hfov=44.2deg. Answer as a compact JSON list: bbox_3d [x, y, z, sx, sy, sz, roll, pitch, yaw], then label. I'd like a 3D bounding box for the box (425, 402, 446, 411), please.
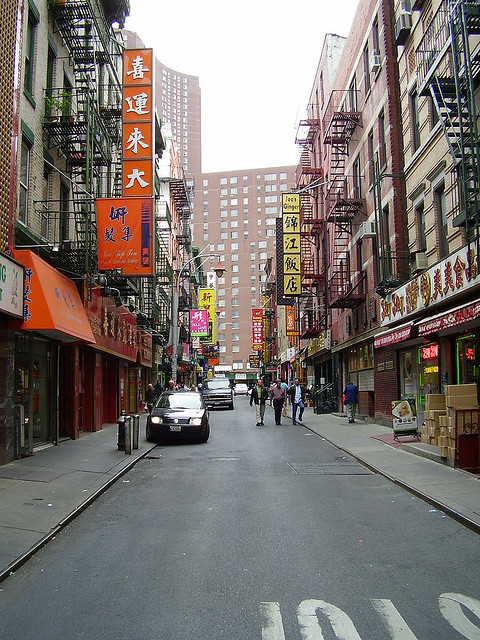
[{"bbox_3d":[4.384,1.938,13.278,0.389,0.191,0.291,-1,-5,14],"label":"box"}]

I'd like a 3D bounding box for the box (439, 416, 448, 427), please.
[{"bbox_3d":[4.026,2.003,11.747,0.140,0.323,0.250,-2,-5,17],"label":"box"}]

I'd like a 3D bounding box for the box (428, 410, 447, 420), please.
[{"bbox_3d":[4.340,2.073,13.104,0.187,0.207,0.234,2,-4,-15],"label":"box"}]

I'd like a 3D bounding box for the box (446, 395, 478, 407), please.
[{"bbox_3d":[4.211,1.524,11.182,0.560,0.224,0.233,0,-5,5],"label":"box"}]

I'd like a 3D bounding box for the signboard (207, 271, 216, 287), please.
[{"bbox_3d":[-4.799,-6.744,98.843,1.162,3.032,6.805,0,-6,-6],"label":"signboard"}]

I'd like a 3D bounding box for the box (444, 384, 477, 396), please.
[{"bbox_3d":[4.196,1.334,11.265,0.547,0.204,0.313,-2,-6,22],"label":"box"}]

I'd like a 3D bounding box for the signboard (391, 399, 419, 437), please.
[{"bbox_3d":[4.393,2.606,15.726,0.703,1.613,0.393,-1,2,0],"label":"signboard"}]

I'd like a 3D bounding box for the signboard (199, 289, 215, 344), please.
[{"bbox_3d":[-3.401,-0.616,60.490,1.643,7.295,0.737,1,38,-2],"label":"signboard"}]

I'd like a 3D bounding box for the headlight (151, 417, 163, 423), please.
[{"bbox_3d":[-2.302,2.767,16.430,0.381,0.135,0.146,-3,-5,25],"label":"headlight"}]

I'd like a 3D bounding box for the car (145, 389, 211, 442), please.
[{"bbox_3d":[-1.765,2.856,17.280,1.666,1.418,2.132,0,-5,3],"label":"car"}]

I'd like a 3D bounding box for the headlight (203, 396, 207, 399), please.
[{"bbox_3d":[-2.193,4.912,37.640,0.190,0.156,0.315,-1,-6,7],"label":"headlight"}]

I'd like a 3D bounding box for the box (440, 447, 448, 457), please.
[{"bbox_3d":[3.941,2.532,11.451,0.105,0.214,0.105,11,-15,-43],"label":"box"}]

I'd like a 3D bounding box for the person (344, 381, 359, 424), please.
[{"bbox_3d":[4.412,3.312,23.628,0.494,1.547,1.224,-1,-4,12],"label":"person"}]

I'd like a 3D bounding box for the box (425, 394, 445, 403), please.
[{"bbox_3d":[4.350,1.734,13.156,0.191,0.211,0.258,0,-9,3],"label":"box"}]

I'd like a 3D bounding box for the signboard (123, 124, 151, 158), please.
[{"bbox_3d":[-3.439,-5.939,19.790,0.676,1.431,0.091,0,-5,-5],"label":"signboard"}]

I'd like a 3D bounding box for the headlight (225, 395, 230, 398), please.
[{"bbox_3d":[-0.810,4.884,38.029,0.045,0.163,0.402,-3,-6,44],"label":"headlight"}]

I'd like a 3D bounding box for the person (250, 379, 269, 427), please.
[{"bbox_3d":[0.769,3.295,23.637,0.619,1.848,2.133,0,-5,1],"label":"person"}]

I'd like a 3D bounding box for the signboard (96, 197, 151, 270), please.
[{"bbox_3d":[-3.295,-2.492,16.791,1.547,2.177,0.463,1,-3,-11],"label":"signboard"}]

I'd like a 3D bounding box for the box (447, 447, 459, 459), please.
[{"bbox_3d":[3.980,2.477,11.165,0.105,0.235,0.185,-1,-5,16],"label":"box"}]

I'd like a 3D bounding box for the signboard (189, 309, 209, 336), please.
[{"bbox_3d":[-2.849,0.307,41.632,1.315,3.039,1.260,-1,-8,-1],"label":"signboard"}]
